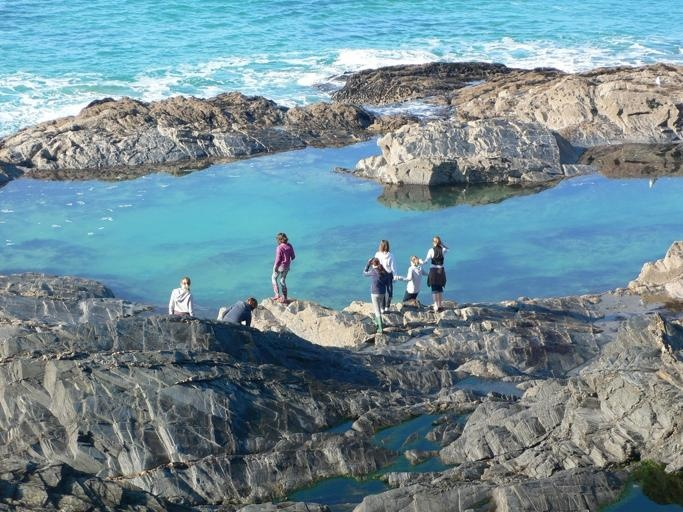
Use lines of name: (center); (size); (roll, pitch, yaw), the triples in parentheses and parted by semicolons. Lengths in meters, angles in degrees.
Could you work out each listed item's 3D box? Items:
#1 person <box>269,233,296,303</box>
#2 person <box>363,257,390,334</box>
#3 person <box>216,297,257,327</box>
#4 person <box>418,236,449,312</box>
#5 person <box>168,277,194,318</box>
person: (-1.962, 0.291, 35.988); (0.767, 2.270, 0.871); (-11, 19, -15)
person: (1.096, 1.082, 33.923); (0.697, 2.307, 0.930); (-8, 18, -4)
person: (-3.034, 1.613, 32.433); (1.121, 0.784, 1.710); (-5, 14, -5)
person: (2.979, 0.475, 34.840); (0.745, 2.465, 1.212); (-5, 18, 5)
person: (-4.761, 1.144, 32.615); (0.681, 1.065, 0.688); (-7, 17, -5)
